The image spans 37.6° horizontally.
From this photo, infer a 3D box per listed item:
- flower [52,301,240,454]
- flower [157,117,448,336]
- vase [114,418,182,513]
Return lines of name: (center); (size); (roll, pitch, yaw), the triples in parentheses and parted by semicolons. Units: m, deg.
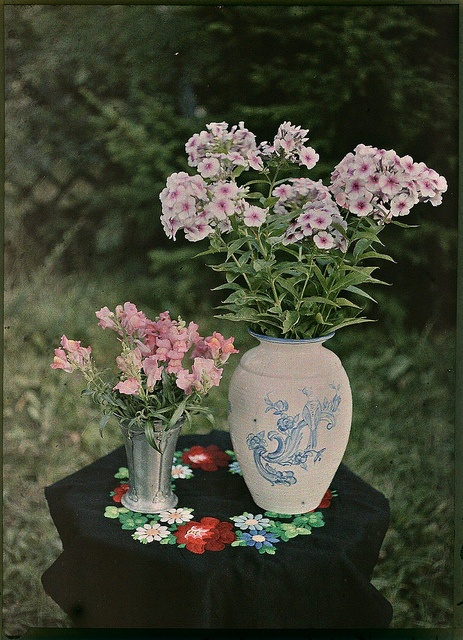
flower: (-0.164, 0.171, 1.343); (0.367, 0.324, 0.249); (2, 84, -3)
flower: (0.132, -0.172, 1.320); (0.378, 0.445, 0.253); (17, 79, -31)
vase: (-0.136, 0.284, 1.366); (0.200, 0.173, 0.191); (1, 92, -2)
